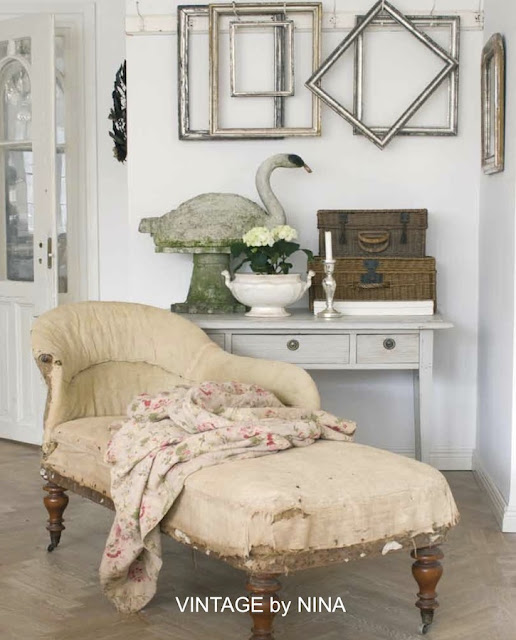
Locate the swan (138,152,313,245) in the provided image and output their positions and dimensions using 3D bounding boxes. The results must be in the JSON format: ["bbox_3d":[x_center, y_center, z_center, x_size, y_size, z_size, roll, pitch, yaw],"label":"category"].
[{"bbox_3d":[-0.135,-0.488,3.497,0.718,0.404,0.276,-1,7,-7],"label":"swan"}]

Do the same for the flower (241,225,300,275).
[{"bbox_3d":[0.060,-0.282,3.400,0.221,0.213,0.246,-18,-11,42],"label":"flower"}]

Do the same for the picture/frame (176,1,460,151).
[{"bbox_3d":[0.259,-1.060,3.641,1.200,0.619,0.214,1,7,10],"label":"picture/frame"}]

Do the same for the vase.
[{"bbox_3d":[0.038,-0.103,3.388,0.359,0.149,0.205,0,0,0],"label":"vase"}]

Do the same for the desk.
[{"bbox_3d":[0.326,0.151,3.379,1.295,0.523,0.596,3,6,7],"label":"desk"}]
